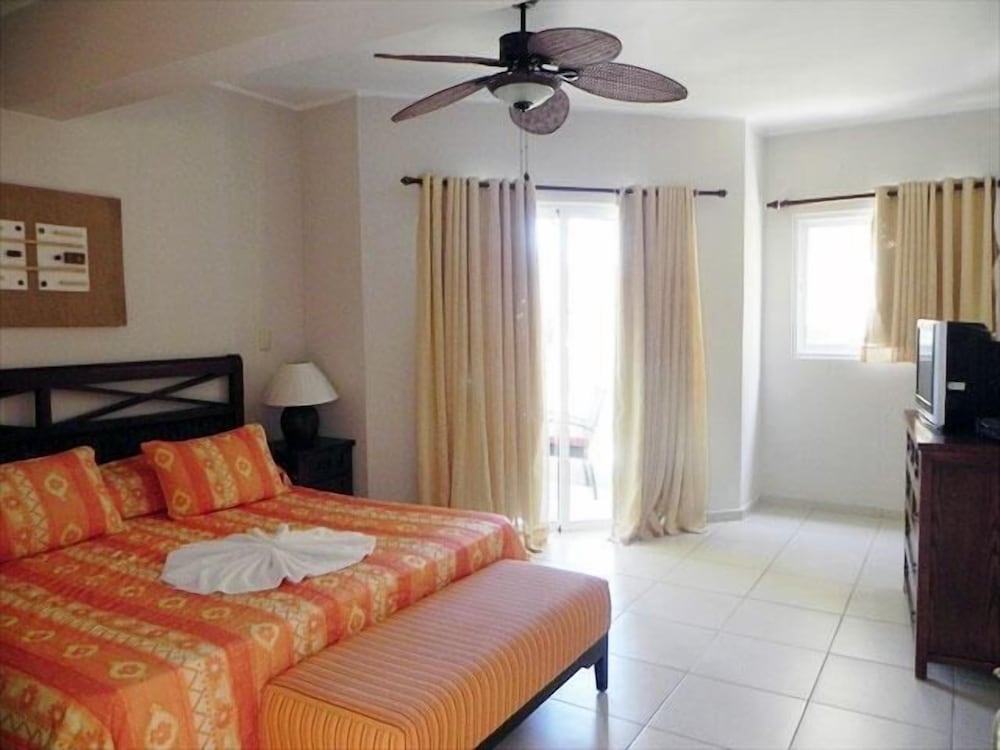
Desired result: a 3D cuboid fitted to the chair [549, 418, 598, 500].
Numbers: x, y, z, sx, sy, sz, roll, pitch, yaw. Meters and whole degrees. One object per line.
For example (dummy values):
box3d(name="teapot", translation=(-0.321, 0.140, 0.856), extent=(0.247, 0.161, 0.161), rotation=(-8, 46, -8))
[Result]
box3d(name="chair", translation=(0.603, 0.579, 5.485), extent=(0.245, 0.390, 0.269), rotation=(20, -11, -5))

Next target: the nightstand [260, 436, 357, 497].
box3d(name="nightstand", translation=(-1.191, 0.648, 4.811), extent=(0.391, 0.399, 0.296), rotation=(-10, 15, -39))

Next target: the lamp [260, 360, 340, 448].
box3d(name="lamp", translation=(-1.319, 0.195, 4.802), extent=(0.454, 0.543, 0.484), rotation=(6, 10, 40))
